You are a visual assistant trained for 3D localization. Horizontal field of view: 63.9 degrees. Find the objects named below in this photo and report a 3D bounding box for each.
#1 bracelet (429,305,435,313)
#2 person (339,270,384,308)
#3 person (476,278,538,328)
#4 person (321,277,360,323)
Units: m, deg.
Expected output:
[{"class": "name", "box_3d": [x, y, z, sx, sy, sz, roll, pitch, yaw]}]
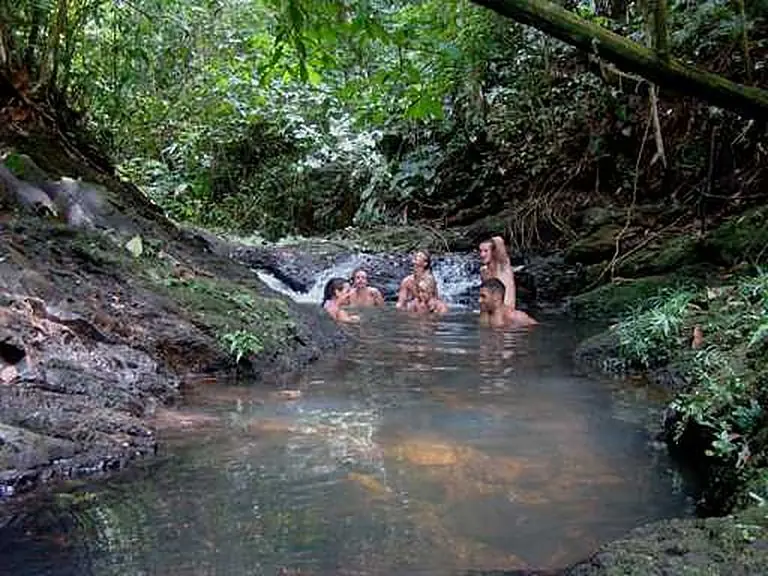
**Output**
[{"class": "bracelet", "box_3d": [0.797, 0.344, 10.144, 0.094, 0.080, 0.176, -4, 11, 4]}, {"class": "person", "box_3d": [-0.341, 0.089, 10.996, 0.888, 0.722, 0.460, -1, -11, 16]}, {"class": "person", "box_3d": [1.657, 0.218, 9.036, 0.602, 0.662, 1.257, -8, 11, -31]}, {"class": "person", "box_3d": [-0.731, 0.189, 9.858, 0.627, 0.692, 0.897, -4, 15, -13]}]
